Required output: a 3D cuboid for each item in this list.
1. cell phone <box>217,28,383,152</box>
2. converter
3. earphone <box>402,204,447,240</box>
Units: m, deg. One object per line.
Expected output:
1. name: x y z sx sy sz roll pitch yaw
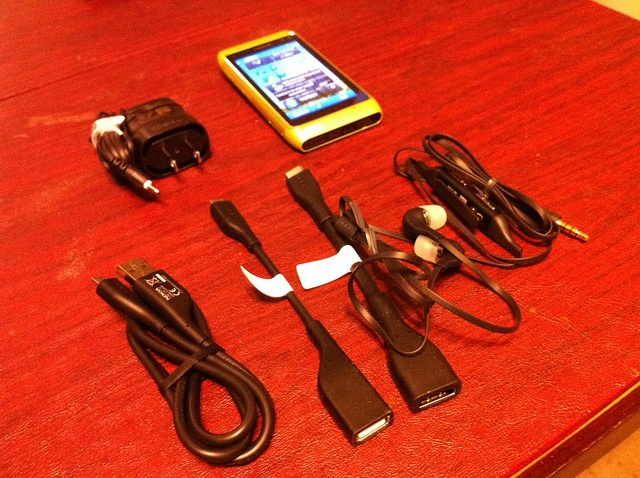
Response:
1. cell phone: -0.033 -0.240 0.871 0.173 0.042 0.262 -29 54 -27
2. converter: -0.222 -0.145 0.810 0.109 0.061 0.132 -21 44 -23
3. earphone: 0.134 -0.025 0.720 0.059 0.042 0.061 -12 26 -24
